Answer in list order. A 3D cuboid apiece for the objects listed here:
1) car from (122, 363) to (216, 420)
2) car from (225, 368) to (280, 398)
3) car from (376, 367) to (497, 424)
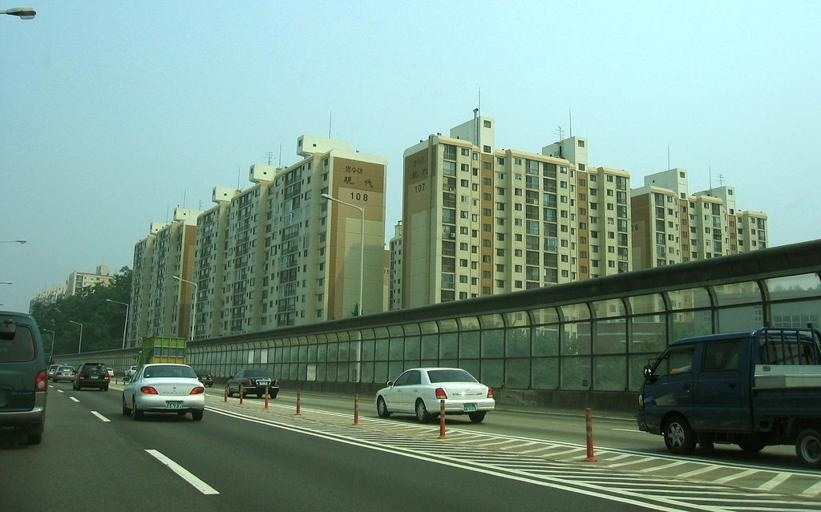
[{"bbox_3d":[-8.591,4.685,31.285,2.799,1.976,1.688,2,-12,-3],"label":"car"},{"bbox_3d":[-8.127,6.876,46.579,1.957,1.426,4.242,5,-7,-26],"label":"car"},{"bbox_3d":[0.656,4.964,32.669,1.878,1.352,4.053,5,-7,-26],"label":"car"}]
